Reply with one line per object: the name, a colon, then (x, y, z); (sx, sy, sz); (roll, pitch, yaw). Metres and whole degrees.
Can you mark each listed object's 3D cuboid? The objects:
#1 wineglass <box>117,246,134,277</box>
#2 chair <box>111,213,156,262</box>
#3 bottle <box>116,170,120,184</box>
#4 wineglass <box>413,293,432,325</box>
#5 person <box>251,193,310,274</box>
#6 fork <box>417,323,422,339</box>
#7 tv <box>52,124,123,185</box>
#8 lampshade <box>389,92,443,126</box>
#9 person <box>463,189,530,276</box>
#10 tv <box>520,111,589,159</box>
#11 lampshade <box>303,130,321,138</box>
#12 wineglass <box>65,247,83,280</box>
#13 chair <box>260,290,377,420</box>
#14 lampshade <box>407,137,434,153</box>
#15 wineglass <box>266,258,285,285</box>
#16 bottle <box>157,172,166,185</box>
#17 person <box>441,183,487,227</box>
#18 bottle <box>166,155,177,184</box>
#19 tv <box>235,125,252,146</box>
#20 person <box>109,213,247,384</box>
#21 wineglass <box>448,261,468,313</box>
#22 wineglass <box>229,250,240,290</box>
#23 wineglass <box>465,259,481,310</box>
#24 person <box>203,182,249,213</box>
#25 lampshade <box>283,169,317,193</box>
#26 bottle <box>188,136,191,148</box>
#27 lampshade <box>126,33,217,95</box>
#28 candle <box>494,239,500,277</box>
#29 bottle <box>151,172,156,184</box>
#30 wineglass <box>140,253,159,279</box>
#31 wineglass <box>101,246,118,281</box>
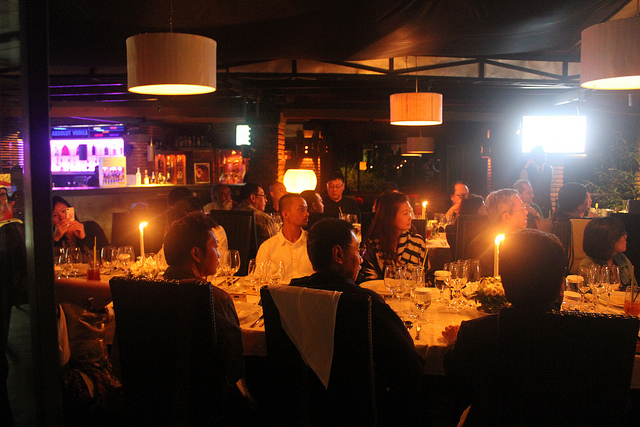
wineglass: (-1.680, 0.403, 4.888); (0.134, 0.206, 0.245); (0, 5, -18)
chair: (-1.976, 0.260, 5.981); (0.462, 0.442, 0.240); (1, -3, -3)
bottle: (-4.403, -0.798, 12.356); (0.045, 0.241, 0.155); (0, 5, -24)
wineglass: (0.697, 0.629, 3.863); (0.104, 0.218, 0.271); (3, 5, 13)
person: (-0.394, 0.204, 5.401); (0.756, 0.894, 0.479); (2, -3, -34)
fork: (0.640, 0.759, 3.665); (0.019, 0.016, 0.107); (4, 49, 9)
tv: (-6.015, -1.593, 14.611); (1.840, 1.243, 0.210); (0, 0, -8)
lampshade: (1.144, -1.249, 6.792); (0.847, 0.321, 0.861); (0, 8, 11)
person: (1.517, 0.165, 4.922); (0.443, 0.819, 0.761); (-2, 5, -1)
tv: (4.902, -1.685, 11.937); (1.097, 0.787, 0.111); (2, 5, 15)
lampshade: (-0.284, -1.948, 13.813); (0.237, 0.188, 0.243); (2, 4, 3)
wineglass: (-2.097, 0.412, 4.803); (0.123, 0.217, 0.278); (0, 5, -24)
chair: (0.003, 0.791, 3.624); (0.680, 0.989, 0.756); (2, 7, 21)
lampshade: (2.397, -1.627, 13.515); (0.426, 0.237, 0.438); (1, 3, 29)
wineglass: (-0.343, 0.442, 4.372); (0.179, 0.271, 0.186); (-2, 2, -5)
bottle: (-4.143, -0.937, 14.761); (0.190, 0.252, 0.379); (1, 4, -7)
person: (2.347, -0.160, 9.139); (0.819, 0.544, 1.084); (2, 9, 12)
bottle: (-3.930, -1.184, 14.970); (0.275, 0.727, 0.225); (0, 5, -18)
tv: (-2.092, -2.107, 15.388); (0.233, 0.525, 0.551); (-2, 6, -44)
person: (-0.956, 0.587, 3.794); (1.073, 1.278, 0.688); (3, 7, 28)
wineglass: (0.991, 0.522, 4.130); (0.131, 0.338, 0.269); (2, 4, -1)
wineglass: (-0.687, 0.442, 4.526); (0.065, 0.299, 0.154); (1, 4, -5)
wineglass: (1.106, 0.560, 4.144); (0.135, 0.414, 0.126); (1, 7, 13)
person: (-1.373, -0.180, 7.823); (0.369, 0.422, 0.858); (6, 11, 43)
lampshade: (-0.315, -0.490, 8.516); (0.483, 0.349, 0.382); (2, 4, -4)
bottle: (-3.488, -1.888, 15.087); (0.077, 0.234, 0.075); (2, 4, 0)
lampshade: (-1.212, -1.189, 4.684); (0.736, 0.411, 0.734); (-2, 1, -12)
candle: (1.310, 0.323, 4.204); (0.027, 0.303, 0.439); (3, 5, 18)
bottle: (-4.314, -0.928, 14.648); (0.108, 0.253, 0.461); (1, 5, -16)
wineglass: (-1.433, 0.422, 4.773); (0.148, 0.223, 0.156); (11, -1, 32)
wineglass: (-1.845, 0.445, 4.949); (0.185, 0.301, 0.174); (-6, -5, -24)
